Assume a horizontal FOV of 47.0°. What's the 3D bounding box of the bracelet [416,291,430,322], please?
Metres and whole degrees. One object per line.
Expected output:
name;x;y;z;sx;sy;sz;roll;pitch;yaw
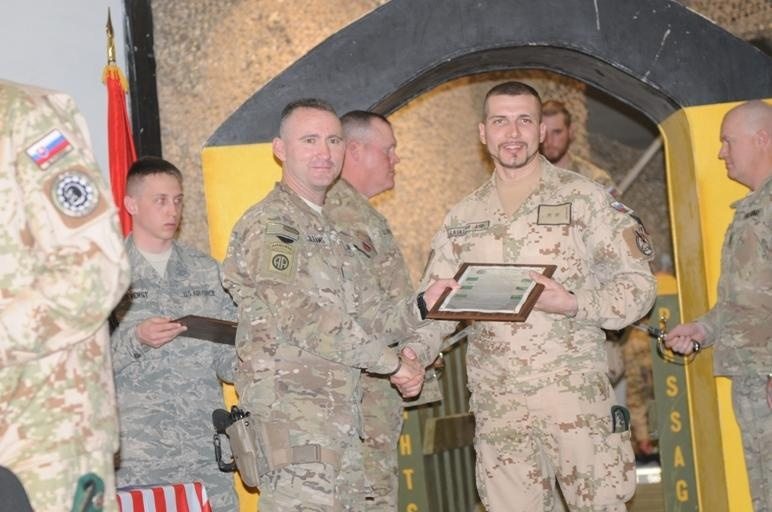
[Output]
bracelet;0.184;0.265;4.591;0.053;0.114;0.089;-15;13;2
